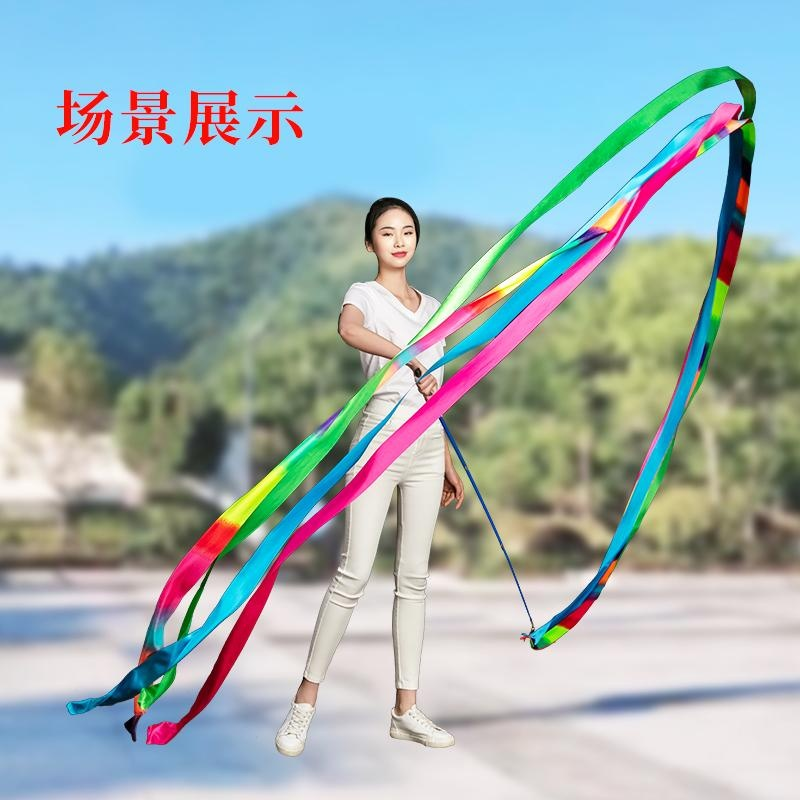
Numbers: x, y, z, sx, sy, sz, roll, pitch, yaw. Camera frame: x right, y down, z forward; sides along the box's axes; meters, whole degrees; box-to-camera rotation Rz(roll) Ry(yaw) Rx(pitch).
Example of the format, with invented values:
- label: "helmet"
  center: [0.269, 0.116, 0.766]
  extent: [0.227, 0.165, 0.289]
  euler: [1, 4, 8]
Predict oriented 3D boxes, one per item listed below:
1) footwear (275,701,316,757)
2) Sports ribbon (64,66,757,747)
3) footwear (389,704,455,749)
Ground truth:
- label: "footwear"
  center: [-0.324, 1.060, 4.172]
  extent: [0.084, 0.092, 0.229]
  euler: [21, 21, -7]
- label: "Sports ribbon"
  center: [0.040, 0.315, 4.717]
  extent: [1.466, 3.037, 1.280]
  euler: [7, 5, -19]
- label: "footwear"
  center: [0.071, 1.086, 4.282]
  extent: [0.277, 0.111, 0.091]
  euler: [1, 1, 36]
